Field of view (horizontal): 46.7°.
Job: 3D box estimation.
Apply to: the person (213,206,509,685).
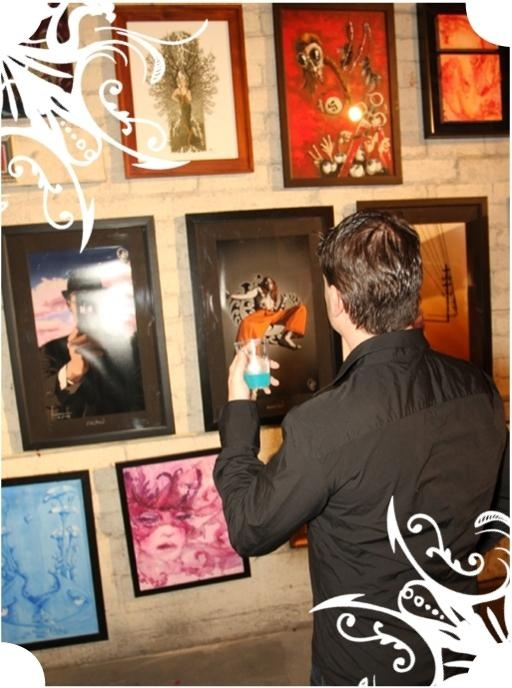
[{"bbox_3d":[0.229,0.245,1.250,0.635,1.016,0.291,-11,6,-6],"label":"person"}]
